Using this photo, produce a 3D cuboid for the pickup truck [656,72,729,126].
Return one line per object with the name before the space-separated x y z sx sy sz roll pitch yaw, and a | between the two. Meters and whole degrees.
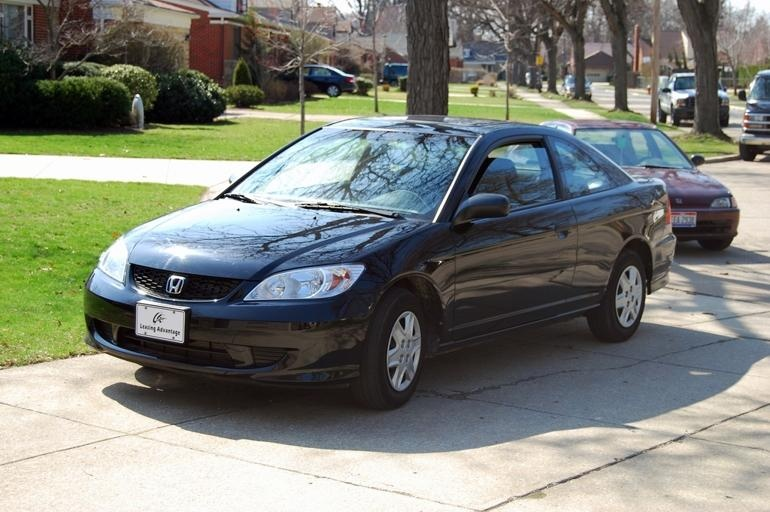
pickup truck | 17.520 -8.965 38.094 3.223 2.082 6.070 -1 18 14
